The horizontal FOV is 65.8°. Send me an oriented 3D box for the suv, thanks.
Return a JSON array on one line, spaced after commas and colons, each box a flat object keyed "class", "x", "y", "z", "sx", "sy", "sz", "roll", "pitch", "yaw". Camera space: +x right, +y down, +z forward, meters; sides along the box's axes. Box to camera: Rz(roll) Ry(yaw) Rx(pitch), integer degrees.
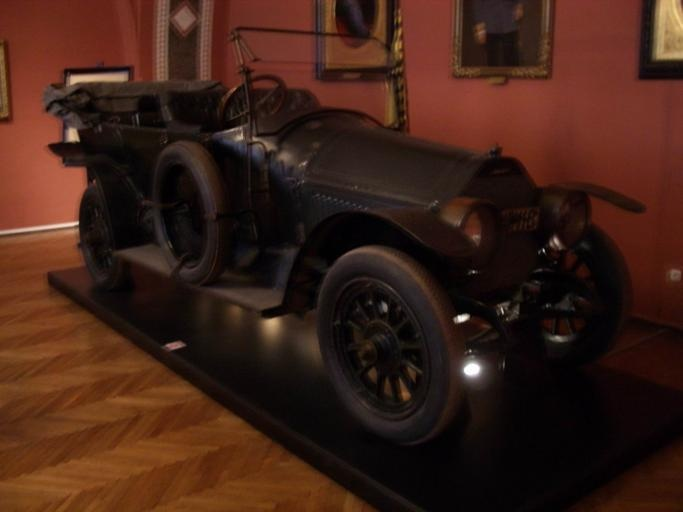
[{"class": "suv", "x": -0.388, "y": -0.332, "z": 2.907, "sx": 2.726, "sy": 1.500, "sz": 1.300, "roll": 18, "pitch": 19, "yaw": 34}]
